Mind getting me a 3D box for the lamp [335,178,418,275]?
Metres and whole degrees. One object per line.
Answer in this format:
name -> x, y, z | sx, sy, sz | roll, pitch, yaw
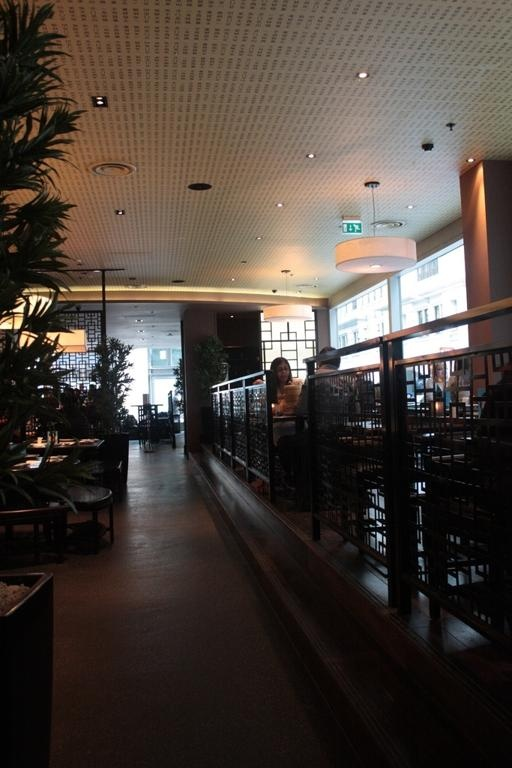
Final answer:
lamp -> 1.450, -1.999, 6.227 | 0.900, 1.099, 0.932 | -1, -1, 30
